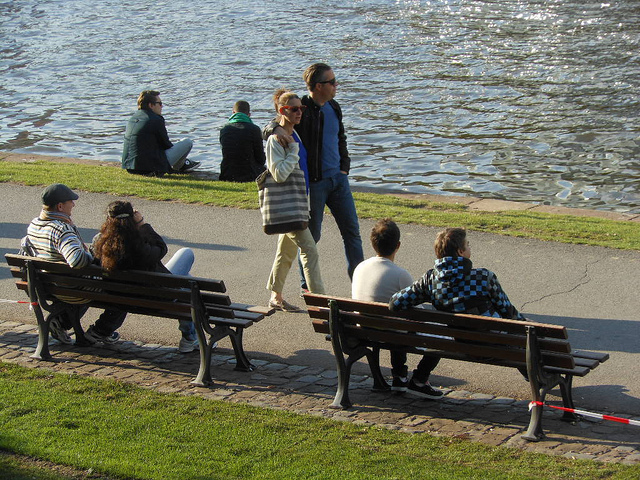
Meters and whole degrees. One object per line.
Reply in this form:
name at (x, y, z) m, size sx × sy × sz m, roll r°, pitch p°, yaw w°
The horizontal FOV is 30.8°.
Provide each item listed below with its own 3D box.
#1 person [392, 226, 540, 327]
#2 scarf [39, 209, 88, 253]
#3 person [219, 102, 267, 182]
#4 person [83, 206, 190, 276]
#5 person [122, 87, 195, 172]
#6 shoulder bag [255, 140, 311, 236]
person at (1.652, 0.471, 13.089) m, size 1.078 × 1.106 × 1.920 m, roll 4°, pitch 10°, yaw 35°
scarf at (-3.098, -0.143, 14.044) m, size 0.637 × 0.496 × 0.530 m, roll -4°, pitch 15°, yaw -13°
person at (-1.411, -1.797, 21.045) m, size 0.835 × 1.450 × 0.575 m, roll -1°, pitch 11°, yaw -4°
person at (-2.161, 0.019, 13.790) m, size 1.208 × 0.932 × 1.138 m, roll -1°, pitch 9°, yaw -6°
person at (-3.051, -2.022, 21.513) m, size 0.608 × 1.521 × 1.178 m, roll 6°, pitch 12°, yaw 28°
shoulder bag at (-0.464, -0.667, 14.305) m, size 0.630 × 1.170 × 0.266 m, roll -1°, pitch 12°, yaw -1°
